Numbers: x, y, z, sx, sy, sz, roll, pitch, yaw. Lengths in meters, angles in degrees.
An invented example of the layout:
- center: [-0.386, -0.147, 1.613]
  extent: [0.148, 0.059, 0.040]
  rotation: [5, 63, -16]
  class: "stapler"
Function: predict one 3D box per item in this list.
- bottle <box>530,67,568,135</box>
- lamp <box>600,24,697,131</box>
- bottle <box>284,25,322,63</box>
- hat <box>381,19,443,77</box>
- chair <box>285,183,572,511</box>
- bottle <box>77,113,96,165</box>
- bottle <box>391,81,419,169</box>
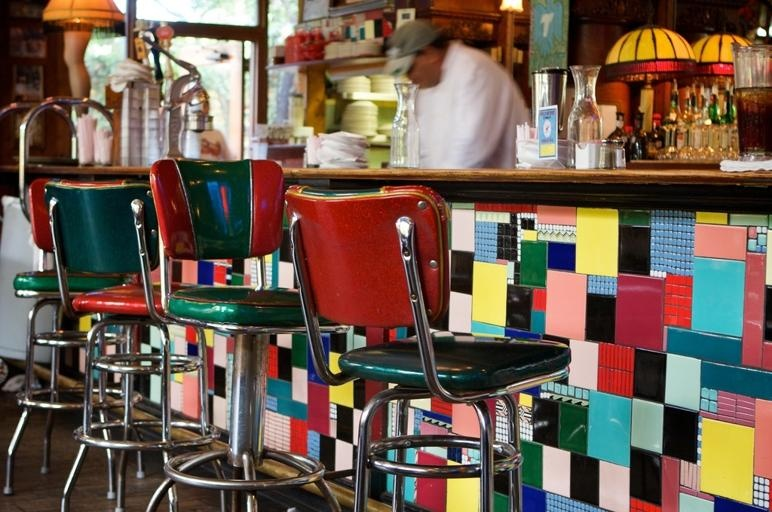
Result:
- center: [0.658, -0.622, 3.397]
  extent: [0.164, 0.241, 0.156]
  rotation: [-2, -2, 0]
  class: "bottle"
- center: [1.846, -1.158, 5.802]
  extent: [0.633, 0.785, 0.616]
  rotation: [7, 10, 10]
  class: "lamp"
- center: [-0.599, -1.524, 6.079]
  extent: [0.201, 0.169, 0.325]
  rotation: [-4, 8, -24]
  class: "bottle"
- center: [0.144, -1.081, 4.334]
  extent: [0.270, 0.286, 0.196]
  rotation: [0, 6, 2]
  class: "hat"
- center: [0.108, 0.312, 2.574]
  extent: [0.845, 1.056, 0.400]
  rotation: [1, 7, 11]
  class: "chair"
- center: [-1.932, -0.763, 5.434]
  extent: [0.126, 0.328, 0.130]
  rotation: [1, 7, 0]
  class: "bottle"
- center: [0.080, -0.579, 3.701]
  extent: [0.120, 0.378, 0.241]
  rotation: [0, 6, 1]
  class: "bottle"
